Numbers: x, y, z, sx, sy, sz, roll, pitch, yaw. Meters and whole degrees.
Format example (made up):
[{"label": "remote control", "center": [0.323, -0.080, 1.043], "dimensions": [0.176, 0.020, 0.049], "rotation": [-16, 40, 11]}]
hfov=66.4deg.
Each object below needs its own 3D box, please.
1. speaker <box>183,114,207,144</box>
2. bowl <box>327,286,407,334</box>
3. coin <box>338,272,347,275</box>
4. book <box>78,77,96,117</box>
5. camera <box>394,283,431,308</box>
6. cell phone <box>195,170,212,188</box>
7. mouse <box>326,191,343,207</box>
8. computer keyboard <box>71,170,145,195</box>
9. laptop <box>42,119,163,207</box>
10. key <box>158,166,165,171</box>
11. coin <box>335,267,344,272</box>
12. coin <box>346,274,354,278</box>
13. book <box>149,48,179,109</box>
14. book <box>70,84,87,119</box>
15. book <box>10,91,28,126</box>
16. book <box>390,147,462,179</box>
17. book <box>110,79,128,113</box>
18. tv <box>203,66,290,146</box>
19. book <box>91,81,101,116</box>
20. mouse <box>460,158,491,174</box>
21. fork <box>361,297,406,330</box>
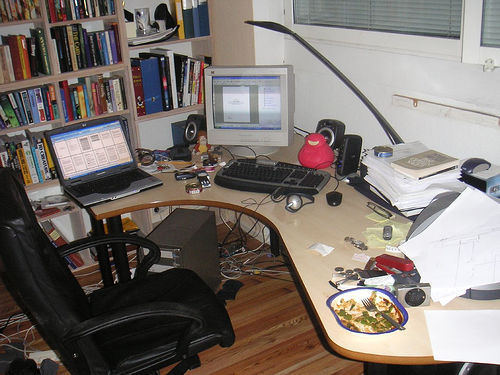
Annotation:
[{"label": "speaker", "center": [-0.374, -0.402, 2.770], "dimensions": [0.139, 0.217, 0.185], "rotation": [10, 0, -44]}, {"label": "bowl", "center": [0.395, 0.412, 1.266], "dimensions": [0.226, 0.037, 0.234], "rotation": [-6, 19, 2]}, {"label": "coin", "center": [0.352, 0.324, 1.451], "dimensions": [0.023, 0.001, 0.016], "rotation": [1, 23, 4]}, {"label": "book", "center": [-1.202, -0.655, 2.804], "dimensions": [0.045, 0.267, 0.268], "rotation": [-21, 23, -21]}, {"label": "camera", "center": [0.582, 0.369, 1.310], "dimensions": [0.116, 0.066, 0.059], "rotation": [-14, -18, 40]}, {"label": "cell phone", "center": [-0.273, -0.055, 2.264], "dimensions": [0.054, 0.025, 0.164], "rotation": [-12, 29, -8]}, {"label": "mouse", "center": [0.430, 0.056, 1.946], "dimensions": [0.086, 0.045, 0.099], "rotation": [4, 25, 10]}, {"label": "computer keyboard", "center": [-0.846, -0.027, 2.225], "dimensions": [0.316, 0.010, 0.139], "rotation": [-19, 31, -35]}, {"label": "laptop", "center": [-0.851, -0.158, 2.208], "dimensions": [0.633, 0.292, 0.554], "rotation": [1, 34, -7]}, {"label": "key", "center": [-0.558, -0.116, 2.386], "dimensions": [0.034, 0.007, 0.032], "rotation": [-9, 38, 13]}, {"label": "coin", "center": [0.347, 0.315, 1.489], "dimensions": [0.028, 0.003, 0.026], "rotation": [3, 24, 8]}, {"label": "coin", "center": [0.373, 0.327, 1.436], "dimensions": [0.027, 0.005, 0.019], "rotation": [-7, 24, -13]}, {"label": "book", "center": [-0.685, -0.840, 2.985], "dimensions": [0.072, 0.420, 0.405], "rotation": [-21, 35, -25]}, {"label": "book", "center": [-1.257, -0.624, 2.777], "dimensions": [0.137, 0.198, 0.229], "rotation": [-16, 17, -16]}, {"label": "book", "center": [-1.569, -0.530, 2.606], "dimensions": [0.038, 0.227, 0.049], "rotation": [-25, 36, -36]}, {"label": "book", "center": [0.781, -0.106, 1.731], "dimensions": [0.235, 0.065, 0.188], "rotation": [-12, 26, -24]}, {"label": "book", "center": [-0.999, -0.697, 2.886], "dimensions": [0.077, 0.173, 0.191], "rotation": [-18, 38, -11]}, {"label": "tv", "center": [-0.005, -0.521, 2.393], "dimensions": [0.543, 0.409, 0.267], "rotation": [4, 18, 12]}, {"label": "book", "center": [-1.149, -0.665, 2.823], "dimensions": [0.030, 0.240, 0.193], "rotation": [-17, 29, -22]}, {"label": "mouse", "center": [0.872, -0.092, 1.476], "dimensions": [0.105, 0.029, 0.056], "rotation": [-16, 29, -23]}, {"label": "fork", "center": [0.436, 0.418, 1.270], "dimensions": [0.037, 0.021, 0.164], "rotation": [-21, 38, -28]}]
